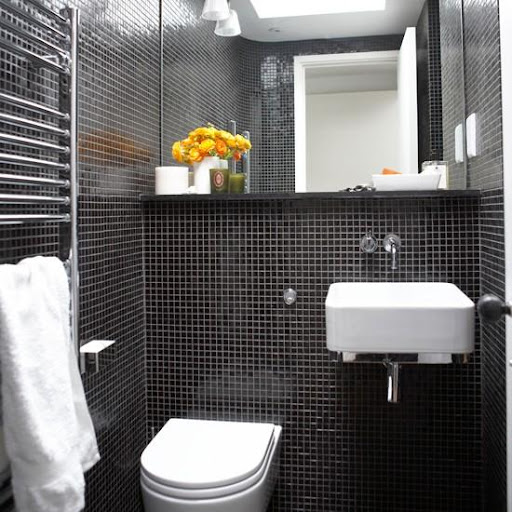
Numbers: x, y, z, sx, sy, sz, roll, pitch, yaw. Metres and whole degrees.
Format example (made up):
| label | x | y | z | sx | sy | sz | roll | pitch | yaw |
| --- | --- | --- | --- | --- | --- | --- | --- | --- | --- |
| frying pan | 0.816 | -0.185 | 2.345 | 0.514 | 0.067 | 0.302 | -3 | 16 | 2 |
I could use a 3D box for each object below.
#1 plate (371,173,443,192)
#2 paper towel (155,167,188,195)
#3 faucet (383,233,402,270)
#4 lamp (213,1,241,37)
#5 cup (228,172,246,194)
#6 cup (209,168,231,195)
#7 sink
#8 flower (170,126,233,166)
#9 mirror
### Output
| label | x | y | z | sx | sy | sz | roll | pitch | yaw |
| --- | --- | --- | --- | --- | --- | --- | --- | --- | --- |
| plate | 0.575 | -0.284 | 1.864 | 0.256 | 0.072 | 0.132 | 1 | 10 | 1 |
| paper towel | -0.352 | -0.317 | 2.039 | 0.142 | 0.113 | 0.142 | -2 | 10 | -13 |
| faucet | 0.541 | -0.029 | 1.890 | 0.054 | 0.153 | 0.049 | -1 | -21 | 8 |
| lamp | -0.145 | -1.136 | 2.446 | 0.151 | 0.222 | 0.185 | 0 | 0 | -7 |
| cup | -0.080 | -0.302 | 2.036 | 0.065 | 0.100 | 0.075 | 1 | 3 | 0 |
| cup | -0.154 | -0.317 | 2.067 | 0.077 | 0.118 | 0.090 | 1 | 3 | 3 |
| sink | 0.455 | 0.181 | 1.725 | 0.460 | 0.188 | 0.547 | -2 | 12 | 25 |
| flower | -0.239 | -0.478 | 2.136 | 0.176 | 0.153 | 0.198 | -19 | -9 | -6 |
| mirror | -0.009 | -0.921 | 2.922 | 1.525 | 1.072 | 0.596 | -7 | 12 | -39 |
